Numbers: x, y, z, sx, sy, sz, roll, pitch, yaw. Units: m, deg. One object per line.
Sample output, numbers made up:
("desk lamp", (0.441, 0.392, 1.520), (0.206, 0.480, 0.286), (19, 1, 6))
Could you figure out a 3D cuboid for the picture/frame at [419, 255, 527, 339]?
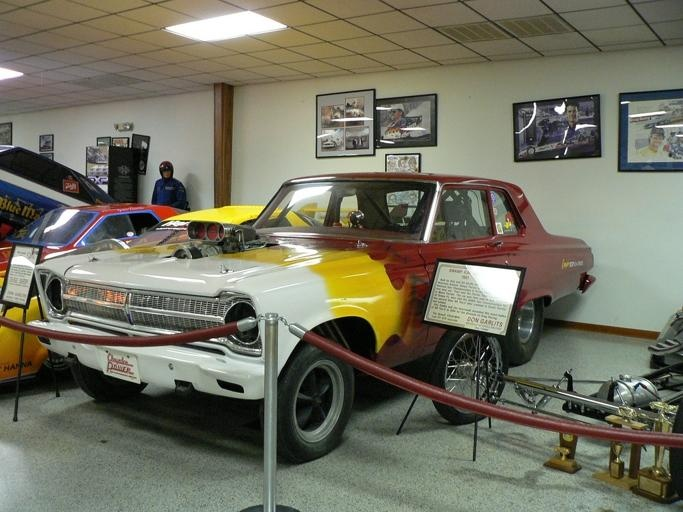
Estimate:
("picture/frame", (0.808, 0.255, 3.003), (0.049, 0.423, 0.668), (9, -2, -36))
